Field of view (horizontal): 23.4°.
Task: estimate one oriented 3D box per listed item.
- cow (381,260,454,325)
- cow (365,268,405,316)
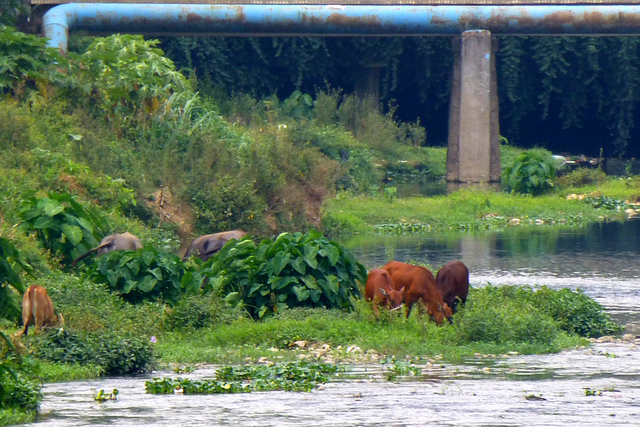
[{"bbox_3d":[2.586,2.212,42.024,0.745,1.477,2.619,-3,16,-44],"label":"cow"},{"bbox_3d":[1.713,2.122,41.882,0.582,1.064,1.918,-8,23,-22],"label":"cow"}]
